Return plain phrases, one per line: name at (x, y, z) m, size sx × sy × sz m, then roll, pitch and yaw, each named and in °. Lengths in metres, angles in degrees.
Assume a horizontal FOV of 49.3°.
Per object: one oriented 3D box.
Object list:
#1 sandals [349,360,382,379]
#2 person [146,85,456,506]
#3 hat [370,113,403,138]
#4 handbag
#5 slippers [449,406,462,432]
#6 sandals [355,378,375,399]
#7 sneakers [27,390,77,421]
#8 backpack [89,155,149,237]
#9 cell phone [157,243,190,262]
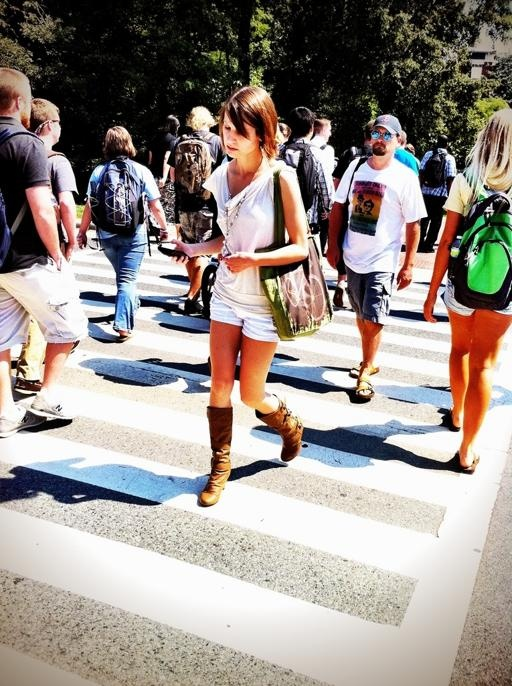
sandals at (0.945, 0.236, 4.977) m, size 0.119 × 0.129 × 0.309 m, roll 1°, pitch 6°, yaw 32°
person at (0.010, -0.185, 2.847) m, size 0.678 × 2.032 × 0.651 m, roll -5°, pitch 16°, yaw -31°
hat at (1.030, -1.694, 4.355) m, size 0.179 × 0.139 × 0.262 m, roll 27°, pitch 9°, yaw 20°
handbag at (0.213, -0.417, 2.679) m, size 0.189 × 0.770 × 0.503 m, roll 11°, pitch 16°, yaw 29°
slippers at (1.424, 0.557, 3.998) m, size 0.068 × 0.205 × 0.080 m, roll -2°, pitch 16°, yaw 14°
sandals at (0.883, 0.361, 4.559) m, size 0.125 × 0.075 × 0.185 m, roll 0°, pitch 40°, yaw 2°
sneakers at (-1.322, 0.422, 3.687) m, size 0.130 × 0.145 × 0.340 m, roll 26°, pitch 3°, yaw 34°
backpack at (-1.322, -1.393, 5.343) m, size 0.527 × 0.744 × 0.350 m, roll -1°, pitch 15°, yaw -17°
cell phone at (-0.417, -0.466, 2.794) m, size 0.134 × 0.040 × 0.074 m, roll 18°, pitch 27°, yaw -4°
